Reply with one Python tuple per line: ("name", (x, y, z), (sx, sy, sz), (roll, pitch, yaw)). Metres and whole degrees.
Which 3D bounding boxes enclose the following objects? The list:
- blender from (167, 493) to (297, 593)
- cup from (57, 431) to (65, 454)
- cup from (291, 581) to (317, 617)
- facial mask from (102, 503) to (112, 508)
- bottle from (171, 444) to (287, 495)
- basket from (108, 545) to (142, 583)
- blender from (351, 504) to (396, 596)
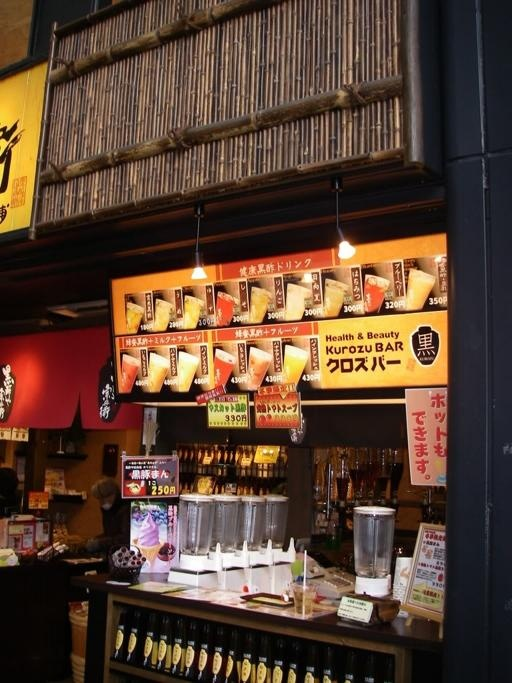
("blender", (-0.118, 1.156, 3.323), (0.610, 0.578, 0.470), (2, -25, -7))
("cup", (-2.909, 1.509, 9.557), (0.081, 0.285, 0.089), (0, -10, 0))
("cup", (0.194, 1.065, 2.631), (0.090, 0.124, 0.129), (0, -10, 3))
("facial mask", (-1.389, 1.525, 5.939), (0.055, 0.061, 0.058), (3, 6, 15))
("bottle", (-0.266, 1.321, 6.571), (1.275, 0.494, 0.264), (-4, -11, 22))
("basket", (-0.684, 1.166, 3.347), (0.132, 0.176, 0.165), (5, -23, -13))
("blender", (0.509, 0.909, 2.789), (0.177, 0.389, 0.184), (4, -7, -9))
